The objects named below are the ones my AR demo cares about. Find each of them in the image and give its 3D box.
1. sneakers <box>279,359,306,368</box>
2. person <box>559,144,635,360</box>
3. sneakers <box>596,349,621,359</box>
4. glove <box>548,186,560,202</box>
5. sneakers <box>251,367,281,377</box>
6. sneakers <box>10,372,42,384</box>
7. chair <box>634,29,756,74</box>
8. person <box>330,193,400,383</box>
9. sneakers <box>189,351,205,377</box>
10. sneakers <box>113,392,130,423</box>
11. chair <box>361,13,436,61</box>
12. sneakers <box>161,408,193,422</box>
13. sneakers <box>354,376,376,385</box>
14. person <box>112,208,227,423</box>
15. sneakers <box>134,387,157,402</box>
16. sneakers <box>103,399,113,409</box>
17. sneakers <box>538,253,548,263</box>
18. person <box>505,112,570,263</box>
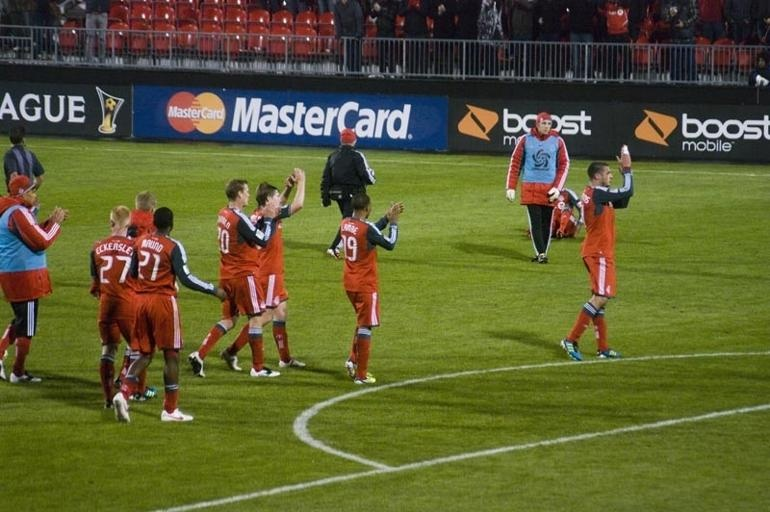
[{"bbox_3d":[-1.562,1.781,23.827,0.463,0.170,0.151,-1,4,-8],"label":"sneakers"},{"bbox_3d":[3.542,-0.021,24.196,1.153,3.461,0.780,0,6,0],"label":"person"},{"bbox_3d":[3.730,1.639,24.177,0.417,0.172,0.146,-1,9,1],"label":"sneakers"},{"bbox_3d":[3.324,-1.207,28.535,0.277,0.200,0.267,21,-14,12],"label":"glove"},{"bbox_3d":[-1.970,1.901,23.461,0.477,0.163,0.179,0,2,-3],"label":"sneakers"},{"bbox_3d":[-5.770,1.929,23.041,0.539,0.197,0.183,1,6,-14],"label":"sneakers"},{"bbox_3d":[8.430,-5.267,39.064,3.594,1.008,0.663,1,6,8],"label":"chair"},{"bbox_3d":[-0.258,0.506,23.304,0.848,3.028,0.724,-1,7,-15],"label":"person"},{"bbox_3d":[-3.036,1.770,23.320,0.193,0.502,0.234,-10,32,7],"label":"sneakers"},{"bbox_3d":[-4.015,2.289,21.781,0.196,0.498,0.247,0,6,-5],"label":"sneakers"},{"bbox_3d":[0.450,-6.259,41.474,1.555,1.741,1.565,0,4,1],"label":"chair"},{"bbox_3d":[-3.201,2.438,22.053,0.537,0.196,0.185,0,2,-8],"label":"sneakers"},{"bbox_3d":[-0.331,1.971,23.194,0.381,0.161,0.131,-3,15,-10],"label":"sneakers"},{"bbox_3d":[-3.484,0.898,21.913,1.352,3.239,0.642,-1,6,-9],"label":"person"},{"bbox_3d":[-3.796,2.170,22.603,0.446,0.187,0.151,1,7,-38],"label":"sneakers"},{"bbox_3d":[-4.307,2.294,22.302,0.092,0.098,0.156,1,12,-10],"label":"sneakers"},{"bbox_3d":[3.117,0.027,28.692,0.204,0.194,0.443,-1,-2,2],"label":"sneakers"},{"bbox_3d":[3.063,-1.380,28.964,1.328,2.924,1.084,1,9,14],"label":"person"}]
